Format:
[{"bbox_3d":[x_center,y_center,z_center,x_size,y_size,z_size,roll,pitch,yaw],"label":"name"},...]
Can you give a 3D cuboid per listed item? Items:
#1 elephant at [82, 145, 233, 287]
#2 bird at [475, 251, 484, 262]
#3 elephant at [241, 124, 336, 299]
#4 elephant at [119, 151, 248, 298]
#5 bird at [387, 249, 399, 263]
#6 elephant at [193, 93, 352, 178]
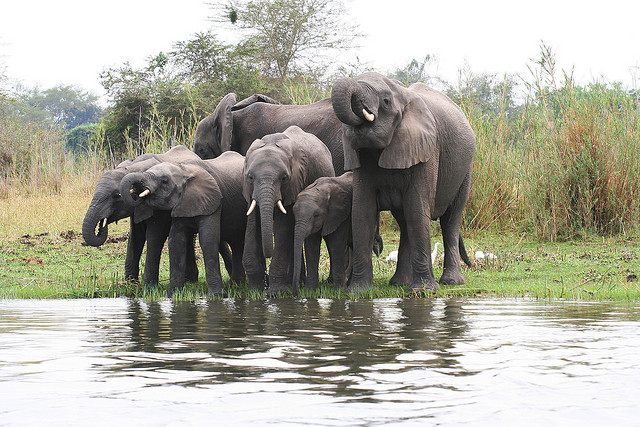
[{"bbox_3d":[-2.230,0.168,9.231,2.220,1.736,1.126,4,-2,-35],"label":"elephant"},{"bbox_3d":[2.669,0.713,10.926,0.143,0.171,0.584,-2,-3,13],"label":"bird"},{"bbox_3d":[-0.536,-0.102,8.615,0.796,2.342,1.237,-3,-4,30],"label":"elephant"},{"bbox_3d":[-1.748,0.151,9.037,1.104,1.947,2.512,0,3,29],"label":"elephant"},{"bbox_3d":[1.268,0.725,11.314,0.154,0.172,0.335,-2,-6,3],"label":"bird"},{"bbox_3d":[-1.106,-1.306,10.468,2.856,1.521,1.312,3,9,25],"label":"elephant"}]
